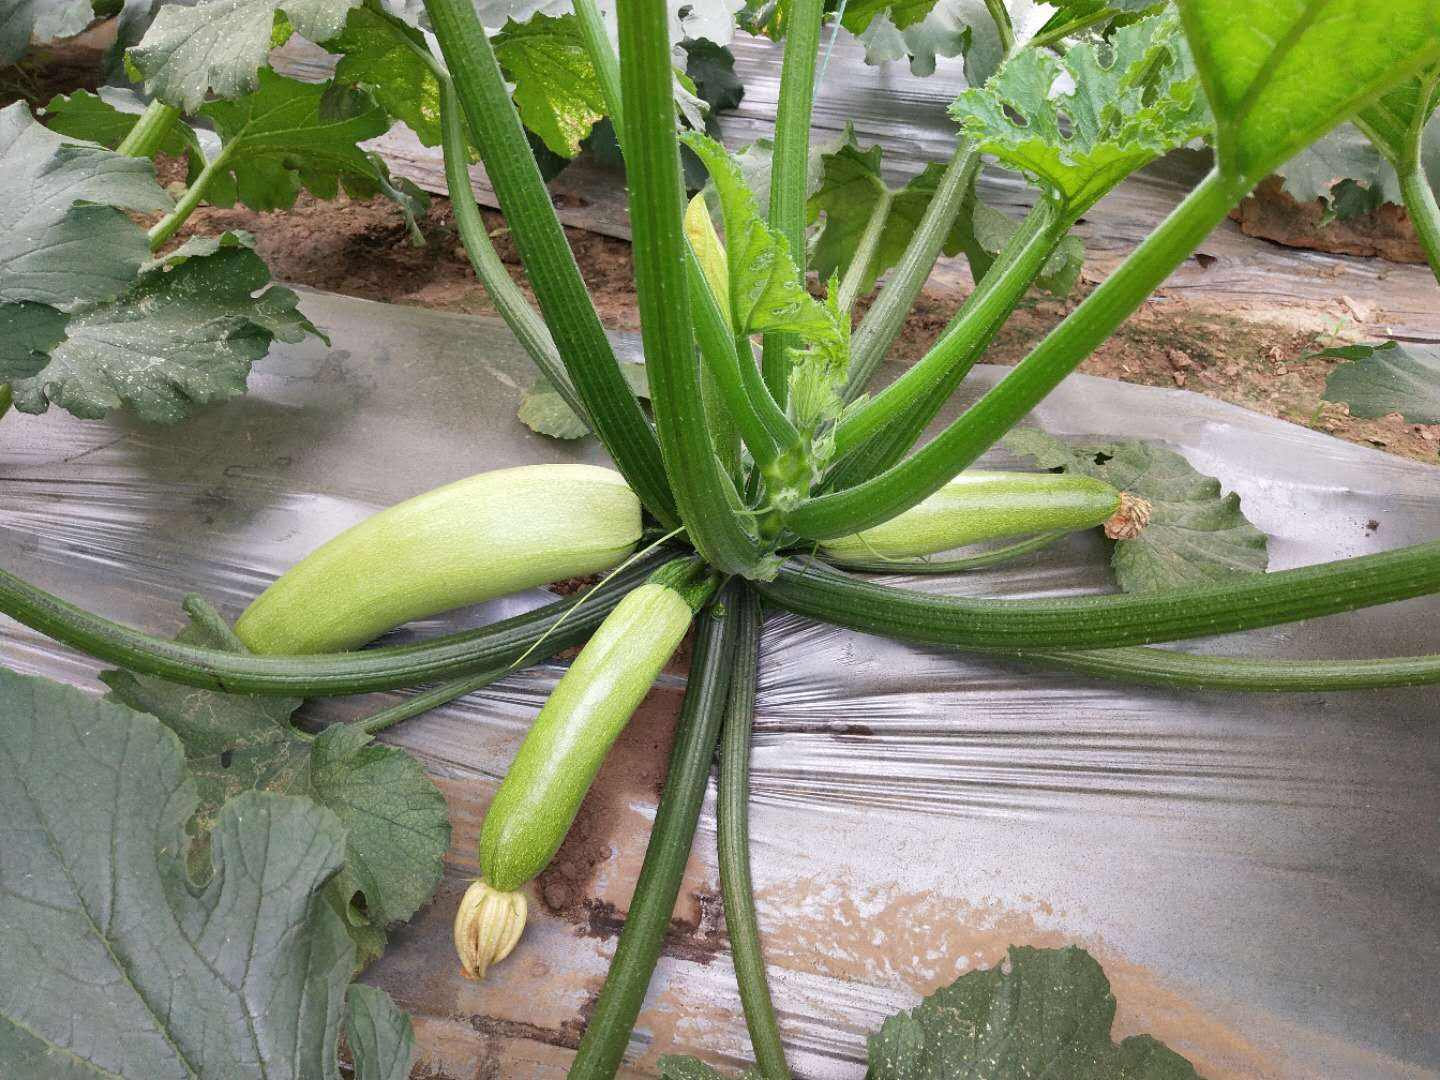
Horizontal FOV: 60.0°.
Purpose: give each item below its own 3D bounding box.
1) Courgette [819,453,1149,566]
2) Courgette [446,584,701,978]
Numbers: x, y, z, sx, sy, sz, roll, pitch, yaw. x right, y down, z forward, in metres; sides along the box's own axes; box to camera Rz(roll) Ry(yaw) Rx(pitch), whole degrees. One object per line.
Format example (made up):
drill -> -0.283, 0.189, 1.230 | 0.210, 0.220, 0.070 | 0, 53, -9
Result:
Courgette -> 0.485, -0.049, 2.286 | 0.486, 0.105, 0.114 | -12, 31, 3
Courgette -> -0.253, 0.446, 2.191 | 0.142, 0.163, 0.760 | 37, 90, 36
